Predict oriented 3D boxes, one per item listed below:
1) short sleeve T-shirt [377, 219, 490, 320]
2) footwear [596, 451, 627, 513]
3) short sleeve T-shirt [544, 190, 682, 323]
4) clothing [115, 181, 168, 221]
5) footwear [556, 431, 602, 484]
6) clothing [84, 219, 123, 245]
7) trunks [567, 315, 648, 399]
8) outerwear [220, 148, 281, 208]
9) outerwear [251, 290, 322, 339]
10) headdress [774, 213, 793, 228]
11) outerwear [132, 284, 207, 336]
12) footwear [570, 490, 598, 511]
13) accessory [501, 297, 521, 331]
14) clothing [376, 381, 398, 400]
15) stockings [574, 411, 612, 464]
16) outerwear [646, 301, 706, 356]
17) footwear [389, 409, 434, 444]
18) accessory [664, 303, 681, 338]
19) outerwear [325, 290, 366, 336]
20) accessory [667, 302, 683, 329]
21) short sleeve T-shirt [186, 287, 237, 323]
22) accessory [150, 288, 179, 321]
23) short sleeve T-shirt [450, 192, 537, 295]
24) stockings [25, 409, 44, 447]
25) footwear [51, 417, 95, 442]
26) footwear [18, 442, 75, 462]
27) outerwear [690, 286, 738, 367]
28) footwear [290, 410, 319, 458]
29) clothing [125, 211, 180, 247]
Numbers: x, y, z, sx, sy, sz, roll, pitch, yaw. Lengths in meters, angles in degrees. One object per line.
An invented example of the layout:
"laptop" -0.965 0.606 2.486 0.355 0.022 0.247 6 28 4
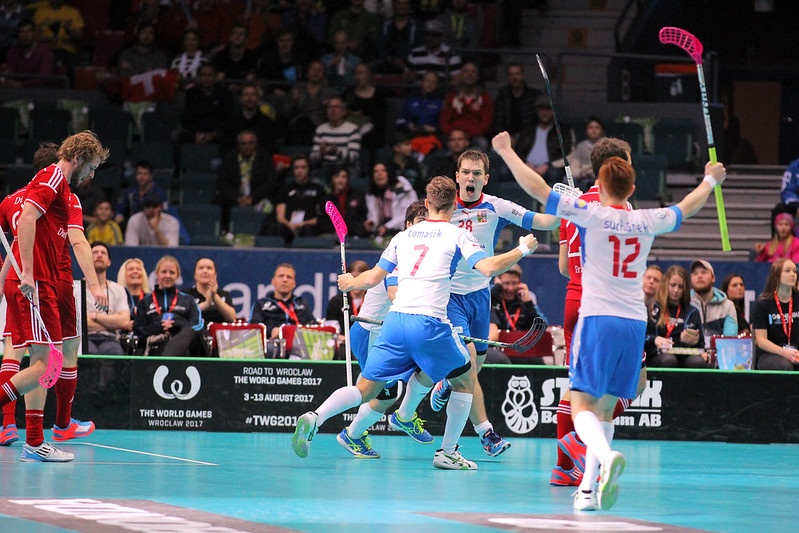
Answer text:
"short sleeve T-shirt" 0.428 0.032 12.764 1.134 0.852 0.371 3 -14 31
"footwear" 1.995 2.001 11.050 0.219 0.549 0.245 13 -8 -27
"short sleeve T-shirt" 2.306 -0.050 12.969 2.109 1.543 0.590 3 9 7
"clothing" -4.146 -1.047 19.227 0.700 0.521 0.373 7 -5 8
"footwear" 1.798 1.896 11.881 0.242 0.556 0.187 -33 14 21
"clothing" -4.639 -0.539 18.580 0.584 0.430 0.181 1 -22 -6
"trunks" 2.027 0.871 11.518 0.823 0.756 0.460 10 1 -12
"outerwear" -2.534 -1.441 20.112 1.185 1.365 0.880 1 2 -1
"outerwear" -1.551 0.631 16.198 0.969 0.746 0.511 -4 -24 -11
"headdress" 6.044 -0.740 18.513 0.254 0.137 0.244 2 -3 1
"outerwear" -3.084 0.708 15.942 1.105 0.811 0.617 0 -24 -7
"footwear" 1.801 2.215 11.391 0.231 0.205 0.261 1 0 10
"accessory" 1.568 0.664 16.497 0.320 0.409 0.154 0 -15 0
"clothing" -0.144 1.354 13.062 0.145 0.175 0.264 4 7 38
"stockings" 1.875 1.614 11.246 0.223 0.462 0.549 0 0 -19
"outerwear" 3.637 0.816 15.640 0.745 0.654 0.402 1 -5 -5
"footwear" 0.181 1.926 14.382 0.659 0.272 0.243 29 18 -23
"accessory" 3.655 0.723 15.760 0.091 0.376 0.212 20 -4 -19
"outerwear" -0.832 0.582 16.605 0.627 0.587 0.218 -3 -28 26
"accessory" 3.636 0.618 15.721 0.060 0.240 0.261 24 -17 -4
"short sleeve T-shirt" -2.579 0.520 16.153 0.483 0.419 0.254 2 9 18
"accessory" -3.086 0.491 15.700 0.295 0.381 0.102 -1 -17 -5
"short sleeve T-shirt" 1.101 -0.224 13.827 1.586 1.027 0.403 9 0 4
"stockings" -3.941 1.732 12.813 0.168 0.353 0.314 0 0 -18
"footwear" -3.774 1.901 13.898 0.590 0.258 0.206 -7 7 -32
"footwear" -3.778 1.976 12.762 0.616 0.225 0.207 1 -6 -6
"outerwear" 4.139 0.803 16.464 0.969 1.025 0.751 -3 -13 2
"footwear" -0.992 1.762 12.600 0.209 0.538 0.249 18 38 15
"clothing" -3.888 -0.558 18.736 0.645 0.687 0.491 1 -39 -6
